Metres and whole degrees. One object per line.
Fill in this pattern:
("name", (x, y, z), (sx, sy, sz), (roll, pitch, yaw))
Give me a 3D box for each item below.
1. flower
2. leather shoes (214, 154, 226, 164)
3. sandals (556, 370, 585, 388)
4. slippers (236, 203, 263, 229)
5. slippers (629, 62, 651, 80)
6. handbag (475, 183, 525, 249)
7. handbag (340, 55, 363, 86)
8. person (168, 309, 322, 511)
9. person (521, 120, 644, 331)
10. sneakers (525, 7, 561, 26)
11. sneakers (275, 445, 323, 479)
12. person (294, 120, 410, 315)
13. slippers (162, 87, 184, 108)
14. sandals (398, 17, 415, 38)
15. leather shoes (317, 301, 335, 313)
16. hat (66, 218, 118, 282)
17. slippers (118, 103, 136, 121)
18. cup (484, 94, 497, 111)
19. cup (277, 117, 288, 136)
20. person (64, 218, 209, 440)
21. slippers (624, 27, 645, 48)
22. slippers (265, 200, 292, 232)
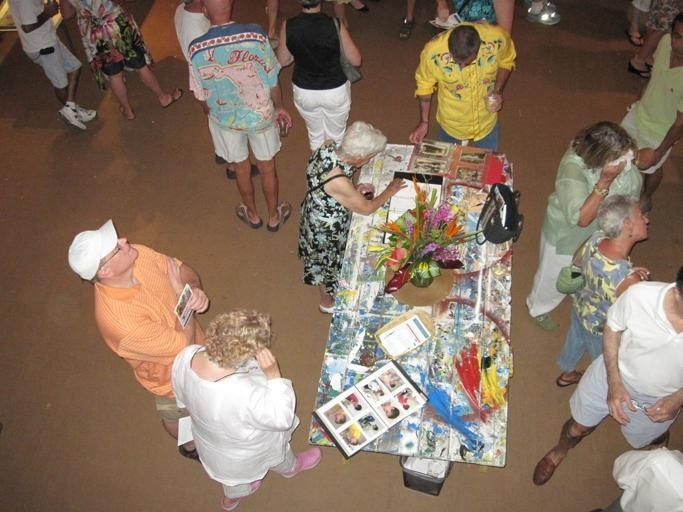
("flower", (0.488, -0.096, 4.445), (0.801, 0.533, 0.809), (-11, 27, -15))
("leather shoes", (-1.307, -1.044, 6.497), (0.133, 0.186, 0.102), (-5, 98, -5))
("sandals", (1.929, 1.045, 5.152), (0.264, 0.195, 0.108), (-10, 79, 13))
("slippers", (-0.934, -0.406, 6.153), (0.165, 0.118, 0.302), (-44, 84, 12))
("slippers", (3.382, -2.095, 6.869), (0.311, 0.127, 0.107), (22, 88, 21))
("handbag", (1.164, -0.298, 4.487), (0.271, 0.406, 0.437), (11, 63, 1))
("handbag", (0.088, -1.675, 5.374), (0.152, 0.290, 0.093), (-2, 45, 2))
("person", (-0.671, 1.216, 4.370), (0.897, 1.815, 0.628), (-11, 46, -7))
("person", (1.923, -0.173, 4.781), (0.599, 1.833, 0.795), (39, 91, 26))
("sneakers", (2.508, -2.978, 7.455), (0.490, 0.202, 0.180), (9, 107, 19))
("sneakers", (-0.337, 1.652, 4.774), (0.416, 0.291, 0.187), (-24, 76, -13))
("person", (0.089, -0.255, 4.827), (0.770, 1.524, 0.617), (-23, 69, -11))
("slippers", (-1.933, -1.842, 7.003), (0.118, 0.120, 0.315), (36, 73, -2))
("sandals", (0.805, -2.778, 7.418), (0.120, 0.119, 0.309), (17, 79, 19))
("leather shoes", (-0.137, 0.476, 5.546), (0.150, 0.063, 0.081), (4, 105, 13))
("hat", (-1.708, -0.017, 4.127), (0.271, 0.147, 0.407), (42, 101, 26))
("slippers", (-2.448, -1.639, 6.885), (0.116, 0.089, 0.239), (-26, 81, -17))
("cup", (1.291, -1.317, 5.173), (0.086, 0.107, 0.114), (-6, 47, -2))
("cup", (-0.553, -1.239, 5.758), (0.089, 0.049, 0.170), (2, 89, -9))
("person", (-1.646, 0.676, 4.760), (0.585, 1.640, 0.617), (-24, 72, -4))
("slippers", (3.448, -2.622, 7.104), (0.127, 0.303, 0.266), (-32, 83, 18))
("slippers", (-0.621, -0.392, 6.059), (0.165, 0.127, 0.340), (23, 80, 9))
